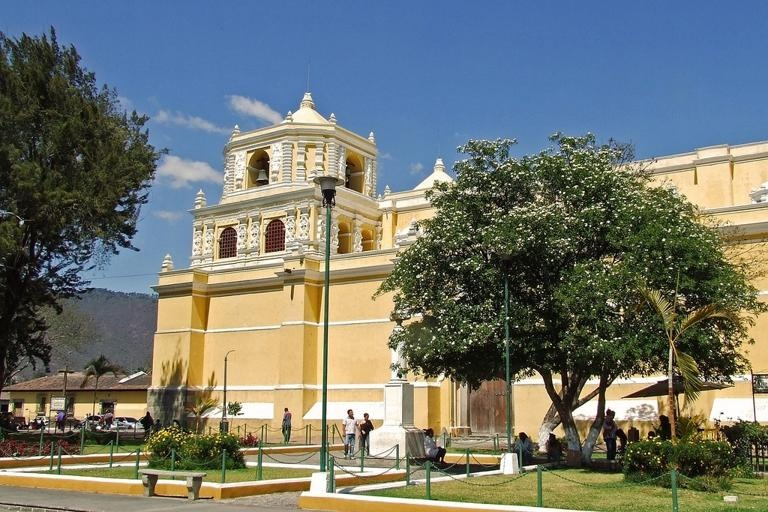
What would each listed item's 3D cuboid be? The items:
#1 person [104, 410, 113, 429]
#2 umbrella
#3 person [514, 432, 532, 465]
[{"bbox_3d":[-19.706,11.788,50.288,0.323,1.132,2.521,8,-19,-25],"label":"person"},{"bbox_3d":[11.540,5.108,27.315,2.336,0.835,2.507,-3,-7,-16],"label":"umbrella"},{"bbox_3d":[5.156,7.052,25.889,0.623,1.217,2.465,-3,-17,10],"label":"person"}]
